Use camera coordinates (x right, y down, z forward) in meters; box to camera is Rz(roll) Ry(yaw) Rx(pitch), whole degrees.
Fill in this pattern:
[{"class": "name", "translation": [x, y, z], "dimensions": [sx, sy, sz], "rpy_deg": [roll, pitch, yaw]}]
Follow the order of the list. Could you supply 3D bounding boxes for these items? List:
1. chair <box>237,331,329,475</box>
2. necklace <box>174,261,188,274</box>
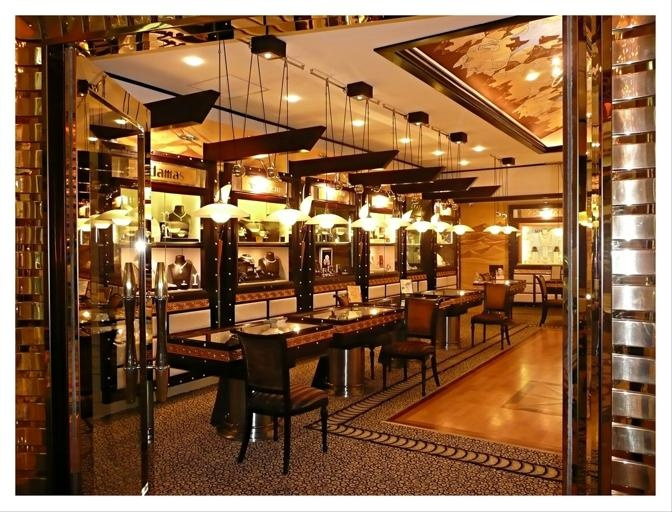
[{"class": "chair", "translation": [-0.378, 0.971, 3.696], "dimensions": [0.639, 0.924, 0.468], "rpy_deg": [-1, 2, -5]}, {"class": "necklace", "translation": [-1.746, 0.127, 5.870], "dimensions": [0.152, 0.135, 0.045], "rpy_deg": [0, -6, -31]}]
